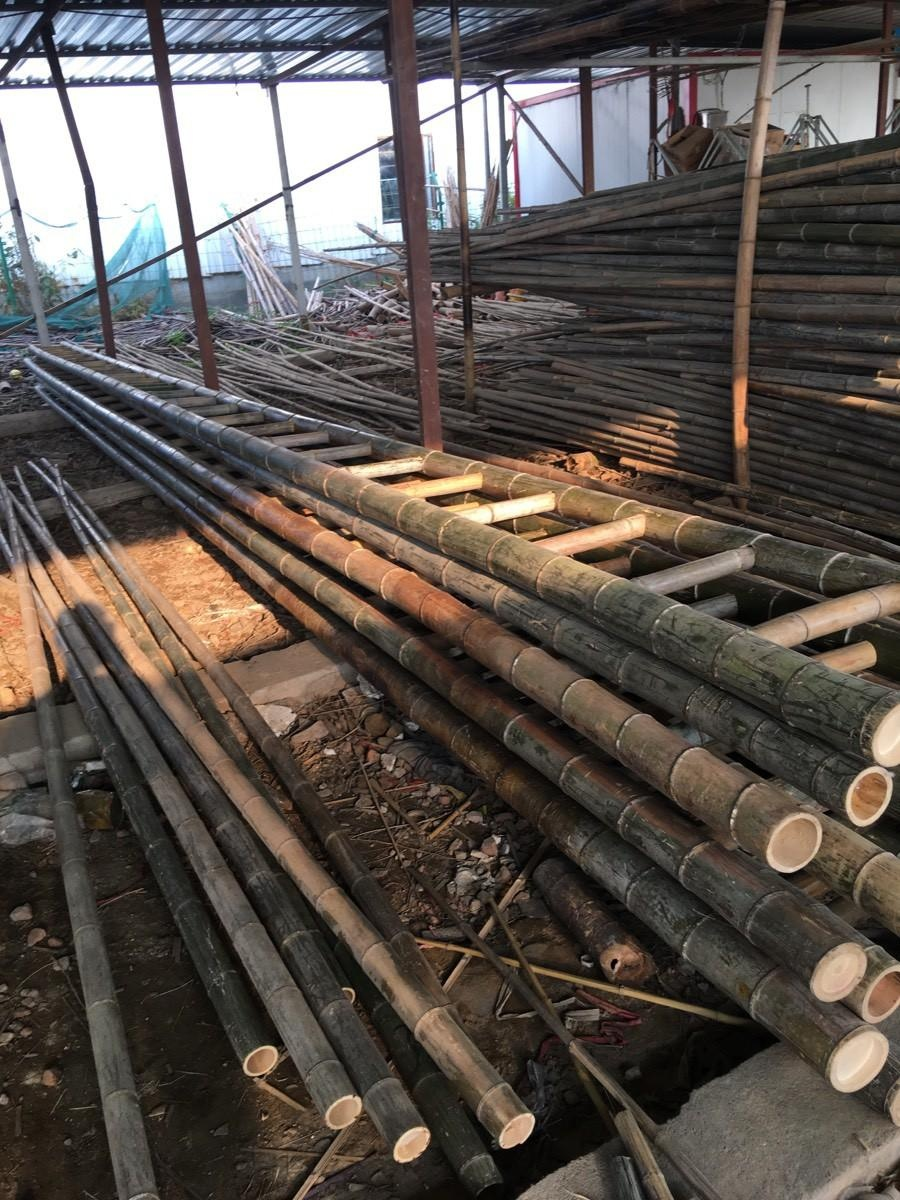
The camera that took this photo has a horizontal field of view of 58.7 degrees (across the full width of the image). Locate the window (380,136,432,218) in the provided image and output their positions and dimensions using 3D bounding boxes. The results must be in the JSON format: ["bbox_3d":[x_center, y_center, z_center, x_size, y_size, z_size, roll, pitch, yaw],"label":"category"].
[{"bbox_3d":[-1.422,-14.296,27.108,1.931,3.012,0.172,-4,-3,-4],"label":"window"}]
